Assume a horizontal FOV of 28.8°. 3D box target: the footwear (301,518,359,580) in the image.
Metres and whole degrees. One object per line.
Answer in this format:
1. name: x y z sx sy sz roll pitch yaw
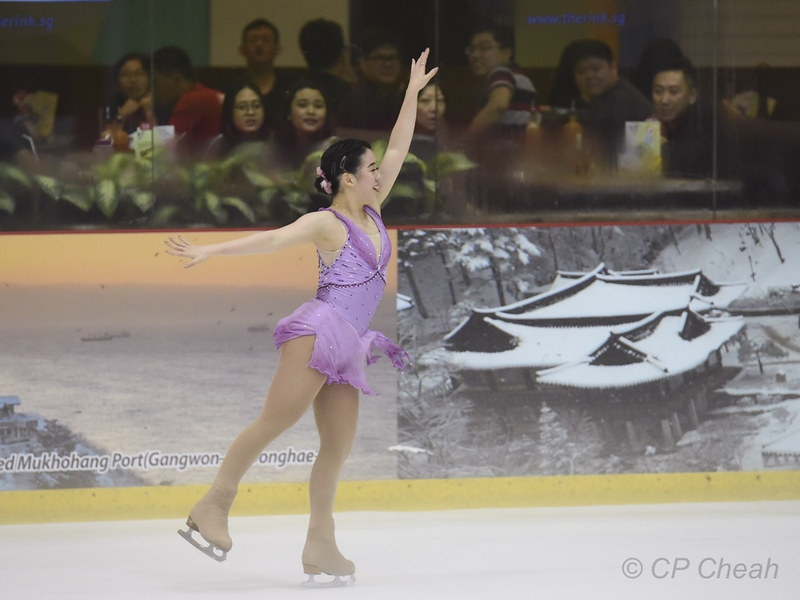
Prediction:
1. footwear: -0.368 1.494 9.270 0.456 0.388 0.166 -2 -11 32

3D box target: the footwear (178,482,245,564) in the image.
1. footwear: -1.073 1.278 9.024 0.161 0.415 0.455 17 12 -42

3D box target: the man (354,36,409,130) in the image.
1. man: -0.145 -1.496 10.581 0.370 0.568 0.256 -2 4 -7

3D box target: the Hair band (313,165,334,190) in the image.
1. Hair band: -0.458 -0.730 9.266 0.133 0.121 0.060 9 20 14

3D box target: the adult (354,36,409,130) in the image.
1. adult: -0.129 -1.479 10.555 0.370 0.568 0.256 -2 4 -7

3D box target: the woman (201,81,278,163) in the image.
1. woman: -1.038 -1.159 10.559 0.781 0.553 0.358 -2 4 -8

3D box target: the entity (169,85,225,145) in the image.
1. entity: -1.376 -1.259 10.425 0.418 0.333 0.230 -4 10 -39
